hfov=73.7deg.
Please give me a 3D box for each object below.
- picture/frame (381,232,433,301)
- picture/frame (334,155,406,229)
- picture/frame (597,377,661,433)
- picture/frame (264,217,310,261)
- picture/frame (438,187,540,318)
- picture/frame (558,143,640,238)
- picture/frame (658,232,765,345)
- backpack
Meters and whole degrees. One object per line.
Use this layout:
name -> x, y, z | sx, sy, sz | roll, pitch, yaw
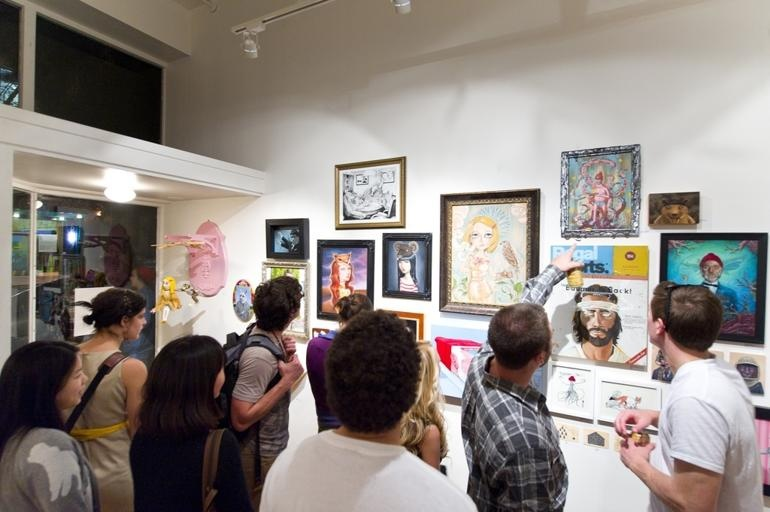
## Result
picture/frame -> 0.181, 0.074, 3.868 | 0.507, 0.596, 0.049 | 1, 1, 29
picture/frame -> -0.095, -0.505, 3.987 | 0.576, 0.487, 0.025 | 2, 4, 26
picture/frame -> 1.525, 0.925, 3.183 | 0.364, 0.306, 0.028 | 5, 0, 29
picture/frame -> -0.808, -0.147, 4.328 | 0.361, 0.342, 0.186 | 0, -2, 27
picture/frame -> 0.743, -0.036, 3.551 | 0.918, 1.117, 0.054 | 1, 1, 30
picture/frame -> 1.407, -0.429, 3.328 | 0.597, 0.706, 0.051 | 2, 3, 26
picture/frame -> 1.903, 0.197, 2.955 | 0.657, 0.770, 0.032 | 2, 1, 31
backpack -> -0.910, 0.752, 3.287 | 0.546, 0.634, 0.440 | 0, 1, -13
